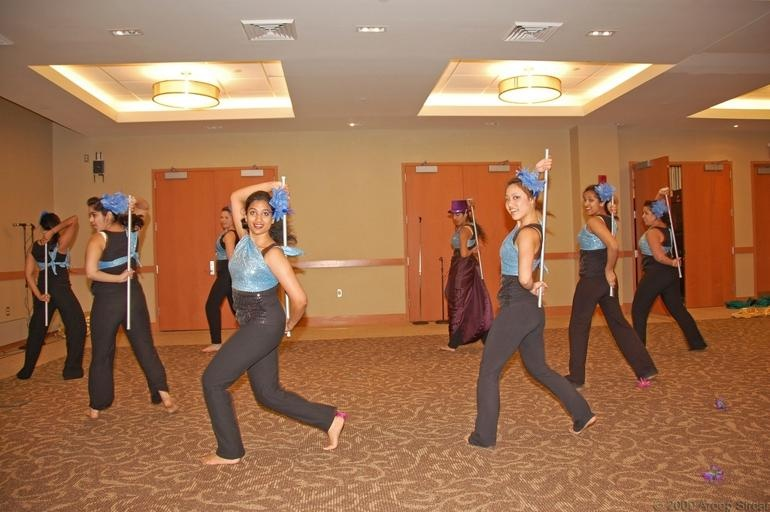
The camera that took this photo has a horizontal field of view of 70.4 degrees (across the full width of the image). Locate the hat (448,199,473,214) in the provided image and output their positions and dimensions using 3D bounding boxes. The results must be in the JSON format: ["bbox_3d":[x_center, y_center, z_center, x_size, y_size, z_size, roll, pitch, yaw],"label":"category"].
[{"bbox_3d":[1.250,-0.807,8.967,0.486,0.242,0.492,-1,7,5],"label":"hat"}]

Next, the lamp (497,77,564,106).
[{"bbox_3d":[2.467,-2.910,9.363,1.017,0.381,0.729,-2,5,-13],"label":"lamp"}]
